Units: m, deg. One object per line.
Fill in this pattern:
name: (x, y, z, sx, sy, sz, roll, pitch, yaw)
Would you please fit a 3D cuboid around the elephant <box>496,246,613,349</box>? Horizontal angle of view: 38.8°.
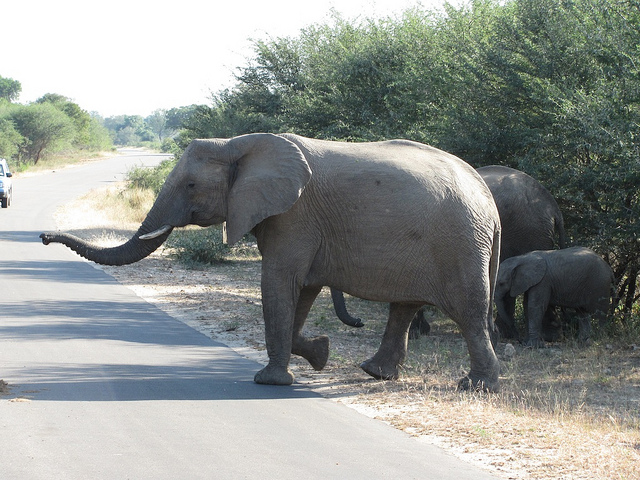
elephant: (4.237, 1.134, 18.084, 3.166, 1.930, 1.207, -2, 5, 16)
